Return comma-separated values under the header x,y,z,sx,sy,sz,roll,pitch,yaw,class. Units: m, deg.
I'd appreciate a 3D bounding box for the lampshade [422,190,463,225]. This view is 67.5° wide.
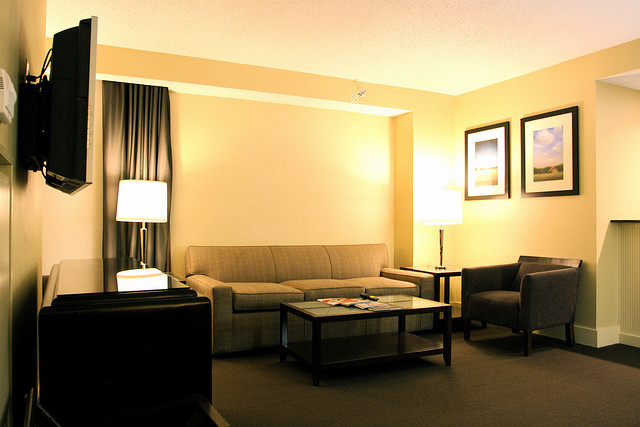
x,y,z,sx,sy,sz,roll,pitch,yaw,class
1.515,-0.077,5.982,0.443,0.322,0.455,1,-5,-2,lampshade

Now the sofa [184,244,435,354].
x,y,z,sx,sy,sz,roll,pitch,yaw,class
-0.082,0.851,5.468,2.722,0.970,1.096,2,-2,-31,sofa

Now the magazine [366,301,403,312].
x,y,z,sx,sy,sz,roll,pitch,yaw,class
0.591,0.842,4.266,0.345,0.025,0.154,-4,7,-38,magazine

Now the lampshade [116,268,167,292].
x,y,z,sx,sy,sz,roll,pitch,yaw,class
-1.061,0.394,2.825,0.176,0.100,0.170,1,0,-2,lampshade

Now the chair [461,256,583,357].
x,y,z,sx,sy,sz,roll,pitch,yaw,class
2.172,0.939,5.177,1.040,0.861,1.000,0,0,-18,chair

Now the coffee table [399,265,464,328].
x,y,z,sx,sy,sz,roll,pitch,yaw,class
1.350,0.965,5.733,0.707,0.629,0.679,3,-4,-24,coffee table

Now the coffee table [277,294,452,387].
x,y,z,sx,sy,sz,roll,pitch,yaw,class
0.488,1.105,4.585,1.803,0.622,0.984,-1,7,-21,coffee table

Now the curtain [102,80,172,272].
x,y,z,sx,sy,sz,roll,pitch,yaw,class
-2.062,-0.301,5.285,0.835,2.225,0.523,3,2,-30,curtain

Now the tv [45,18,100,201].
x,y,z,sx,sy,sz,roll,pitch,yaw,class
-1.491,-0.674,3.018,0.288,0.921,0.946,3,4,-18,tv
